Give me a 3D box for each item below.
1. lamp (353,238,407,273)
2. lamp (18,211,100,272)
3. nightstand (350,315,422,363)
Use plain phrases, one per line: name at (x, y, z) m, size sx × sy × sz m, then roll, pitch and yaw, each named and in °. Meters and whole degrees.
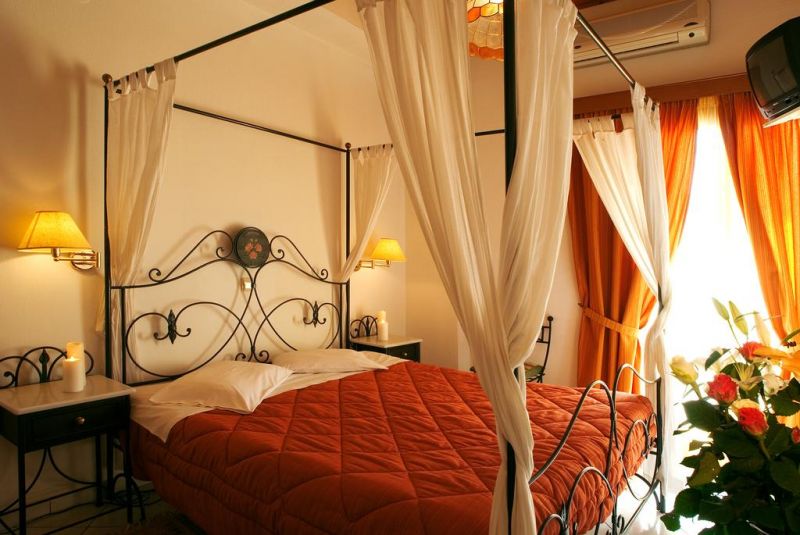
lamp at (-0.164, -0.118, 5.675) m, size 0.394 × 0.223 × 0.285 m, roll -2°, pitch 0°, yaw 3°
lamp at (-2.201, -0.156, 3.922) m, size 0.497 × 0.408 × 0.458 m, roll -3°, pitch -1°, yaw -30°
nightstand at (-0.159, 0.671, 5.605) m, size 0.470 × 0.489 × 0.484 m, roll 7°, pitch 9°, yaw 43°
